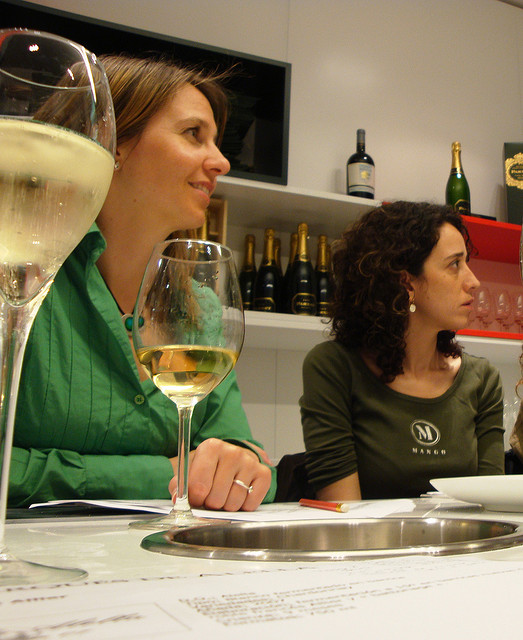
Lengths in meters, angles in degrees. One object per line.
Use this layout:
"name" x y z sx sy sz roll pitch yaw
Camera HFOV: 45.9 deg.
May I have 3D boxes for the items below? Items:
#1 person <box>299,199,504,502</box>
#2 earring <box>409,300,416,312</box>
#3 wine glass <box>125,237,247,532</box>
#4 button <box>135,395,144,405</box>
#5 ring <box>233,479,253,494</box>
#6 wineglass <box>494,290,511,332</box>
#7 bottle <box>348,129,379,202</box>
"person" 0.382 0.044 1.583 0.525 0.767 0.509 6 0 3
"earring" 0.396 -0.031 1.616 0.016 0.020 0.005 11 -10 -28
"wine glass" -0.064 0.021 0.483 0.085 0.213 0.113 7 0 5
"button" -0.191 0.125 0.963 0.016 0.013 0.003 -5 -5 -4
"ring" -0.019 0.178 0.670 0.017 0.005 0.016 30 -3 2
"wineglass" 0.959 -0.039 2.475 0.060 0.167 0.082 7 0 8
"bottle" 0.365 -0.558 2.226 0.103 0.268 0.230 7 0 6
